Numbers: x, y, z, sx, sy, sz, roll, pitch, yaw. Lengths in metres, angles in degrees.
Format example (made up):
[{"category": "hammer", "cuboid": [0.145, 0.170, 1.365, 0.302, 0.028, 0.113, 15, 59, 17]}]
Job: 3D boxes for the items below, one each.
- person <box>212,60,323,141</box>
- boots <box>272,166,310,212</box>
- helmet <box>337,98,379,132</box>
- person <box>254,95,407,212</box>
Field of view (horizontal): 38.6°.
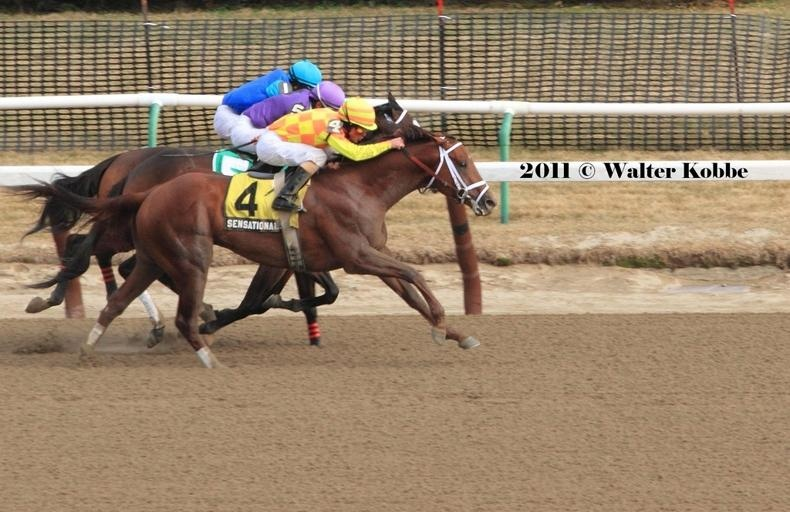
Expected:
[{"category": "person", "cuboid": [-1.049, -1.172, 8.809, 1.135, 0.316, 0.477, -15, 41, 5]}, {"category": "boots", "cuboid": [-0.706, -0.453, 7.785, 0.236, 0.309, 0.253, 0, 14, 7]}, {"category": "helmet", "cuboid": [-0.277, -0.995, 7.891, 0.360, 0.140, 0.208, 15, 21, -2]}, {"category": "person", "cuboid": [-0.661, -0.779, 8.119, 1.218, 0.632, 0.759, -8, 30, -40]}]
